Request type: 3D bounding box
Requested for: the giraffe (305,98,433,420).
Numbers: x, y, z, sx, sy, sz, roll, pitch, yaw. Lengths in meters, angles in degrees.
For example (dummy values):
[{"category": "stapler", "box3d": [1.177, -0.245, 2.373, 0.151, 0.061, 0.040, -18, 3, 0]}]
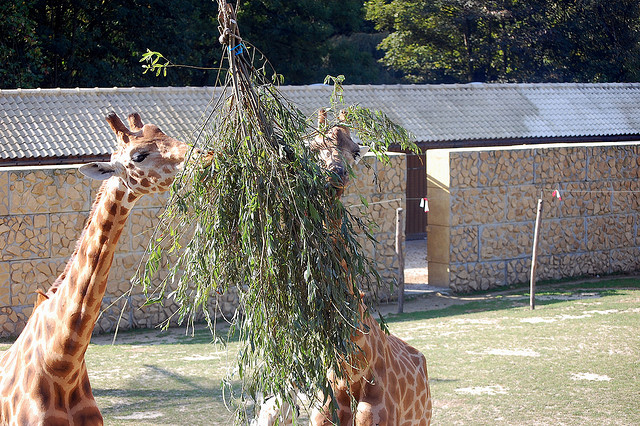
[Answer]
[{"category": "giraffe", "box3d": [0.946, 1.132, 28.728, 2.326, 6.714, 1.531, -2, 0, 2]}]
